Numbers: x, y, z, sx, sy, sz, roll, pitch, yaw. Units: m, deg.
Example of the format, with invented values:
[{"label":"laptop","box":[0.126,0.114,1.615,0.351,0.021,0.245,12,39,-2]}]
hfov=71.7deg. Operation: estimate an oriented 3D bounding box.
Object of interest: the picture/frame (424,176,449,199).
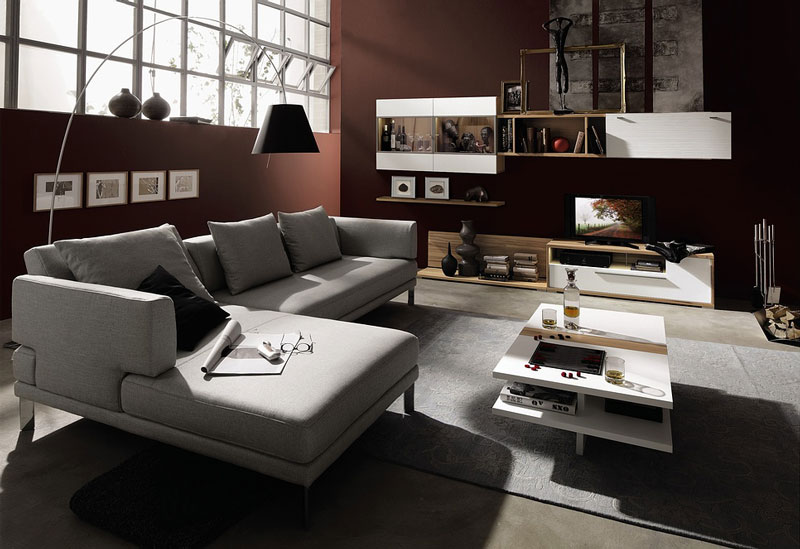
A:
[{"label":"picture/frame","box":[0.490,-1.124,7.142,0.291,0.251,0.029,4,10,23]}]

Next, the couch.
[{"label":"couch","box":[-1.174,0.391,3.723,2.199,1.187,1.615,10,14,17]}]

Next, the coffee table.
[{"label":"coffee table","box":[1.239,0.653,3.697,1.045,0.658,1.165,4,14,20]}]

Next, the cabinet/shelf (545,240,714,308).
[{"label":"cabinet/shelf","box":[2.559,-0.057,6.227,1.691,0.647,0.481,7,20,28]}]

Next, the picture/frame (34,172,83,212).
[{"label":"picture/frame","box":[-3.110,-0.747,4.968,0.027,0.306,0.415,5,11,24]}]

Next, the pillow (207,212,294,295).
[{"label":"pillow","box":[-1.259,-0.151,4.665,0.228,0.487,0.648,-2,11,29]}]

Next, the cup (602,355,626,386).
[{"label":"cup","box":[1.279,0.566,3.286,0.150,0.138,0.116,4,9,36]}]

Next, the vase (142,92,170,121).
[{"label":"vase","box":[-2.526,-1.727,5.749,0.286,0.284,0.286,4,14,2]}]

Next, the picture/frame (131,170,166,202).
[{"label":"picture/frame","box":[-2.604,-0.908,5.650,0.013,0.249,0.340,5,10,25]}]

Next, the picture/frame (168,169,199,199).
[{"label":"picture/frame","box":[-2.376,-0.989,5.976,0.014,0.247,0.337,5,11,23]}]

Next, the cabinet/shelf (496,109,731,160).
[{"label":"cabinet/shelf","box":[2.348,-1.558,6.304,2.498,0.484,0.453,7,10,27]}]

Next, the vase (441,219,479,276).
[{"label":"vase","box":[0.780,-0.337,7.003,0.670,0.869,0.408,1,9,12]}]

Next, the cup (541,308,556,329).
[{"label":"cup","box":[1.081,0.319,3.987,0.109,0.126,0.122,2,8,18]}]

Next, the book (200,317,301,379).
[{"label":"book","box":[-0.883,0.433,3.303,0.483,0.118,0.528,1,22,2]}]

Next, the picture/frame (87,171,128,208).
[{"label":"picture/frame","box":[-2.841,-0.835,5.339,0.438,0.324,0.020,1,1,13]}]

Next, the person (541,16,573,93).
[{"label":"person","box":[1.790,-2.508,6.291,0.321,0.875,0.503,2,13,14]}]

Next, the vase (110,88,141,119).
[{"label":"vase","box":[-2.667,-1.665,5.463,0.294,0.279,0.296,6,12,17]}]

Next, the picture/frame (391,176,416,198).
[{"label":"picture/frame","box":[0.056,-1.169,7.326,0.283,0.243,0.036,4,10,23]}]

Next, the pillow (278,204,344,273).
[{"label":"pillow","box":[-0.879,-0.331,5.374,0.292,0.572,0.827,-3,9,28]}]
